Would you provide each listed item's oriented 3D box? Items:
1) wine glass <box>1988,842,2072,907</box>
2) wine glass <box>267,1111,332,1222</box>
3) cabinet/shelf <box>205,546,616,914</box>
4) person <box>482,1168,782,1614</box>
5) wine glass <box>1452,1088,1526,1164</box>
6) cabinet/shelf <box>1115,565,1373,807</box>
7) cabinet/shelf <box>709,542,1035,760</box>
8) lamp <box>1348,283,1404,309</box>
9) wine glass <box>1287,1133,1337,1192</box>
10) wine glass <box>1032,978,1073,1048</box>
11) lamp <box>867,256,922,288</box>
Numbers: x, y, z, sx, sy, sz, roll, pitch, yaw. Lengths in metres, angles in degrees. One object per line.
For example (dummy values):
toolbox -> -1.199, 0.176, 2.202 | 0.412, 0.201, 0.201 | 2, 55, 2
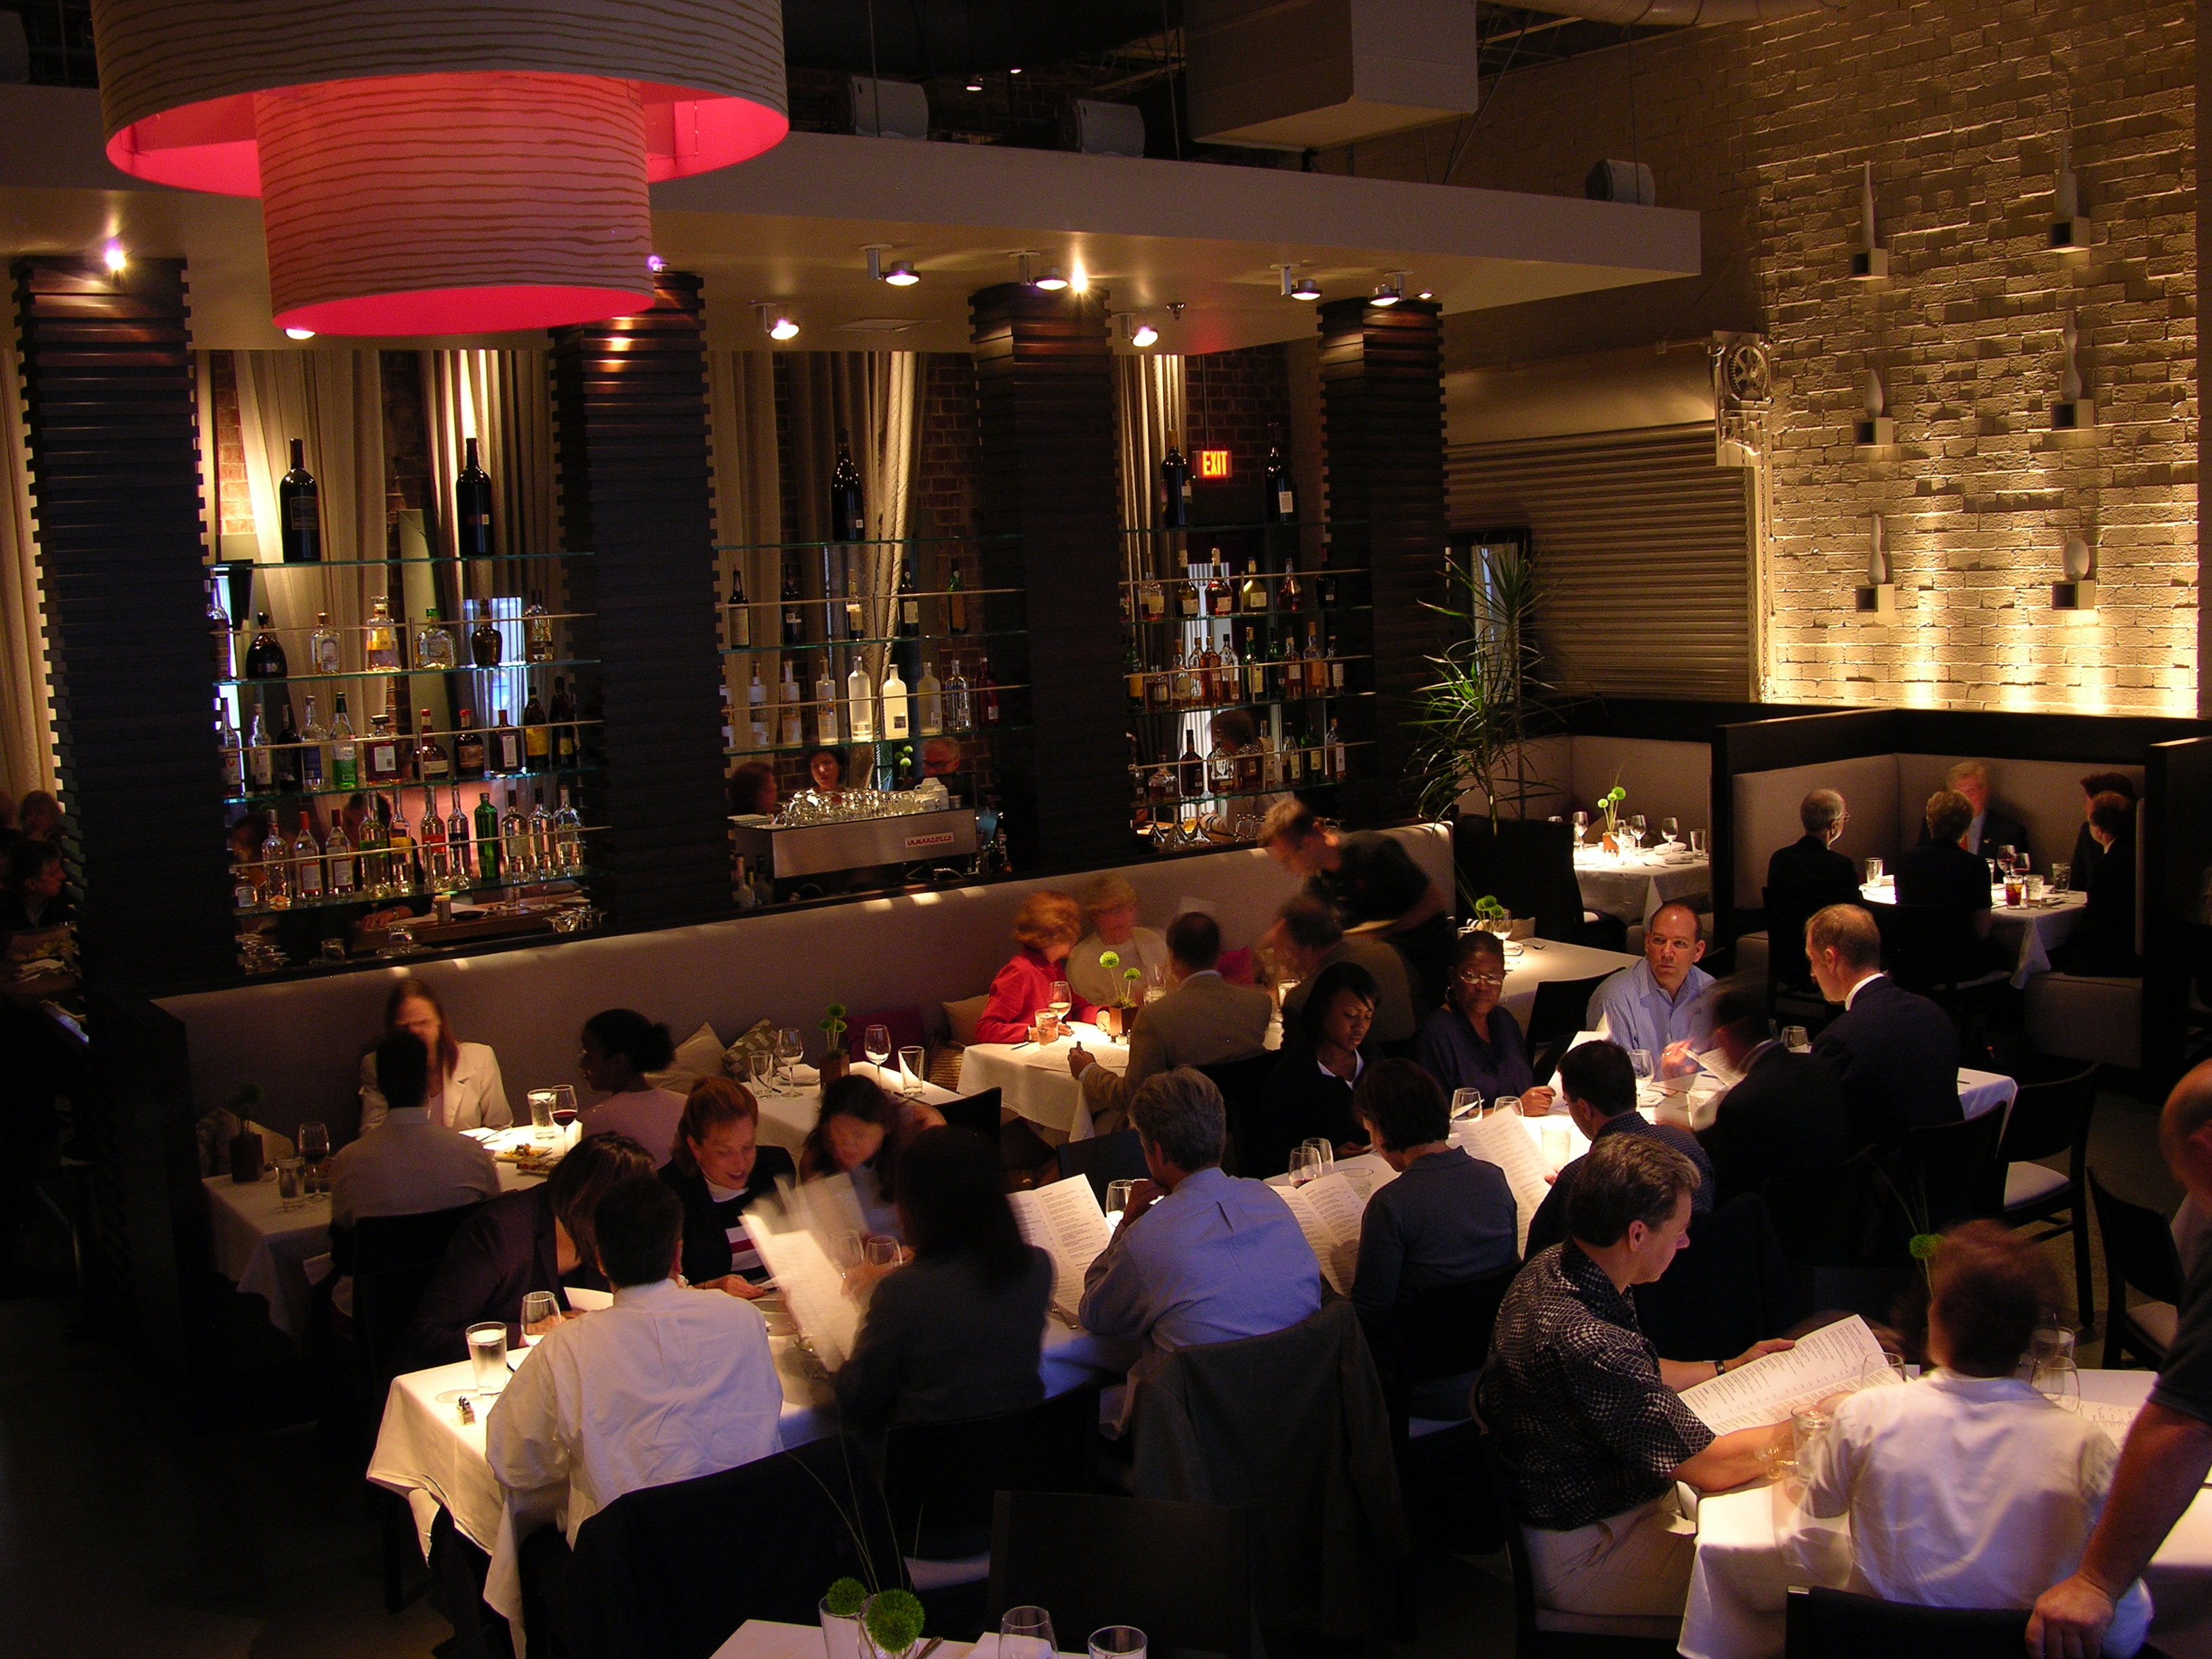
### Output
wine glass -> 4.897, 0.222, 9.485 | 0.359, 0.169, 0.513 | 2, 4, 26
wine glass -> -2.772, 1.168, 6.126 | 0.235, 0.360, 0.217 | 2, 3, 34
cabinet/shelf -> -3.115, -0.433, 7.801 | 1.565, 1.449, 0.503 | -7, 13, -39
person -> -1.122, 1.345, 4.175 | 0.681, 1.053, 0.557 | -2, 16, -21
wine glass -> 1.164, 0.921, 5.502 | 0.186, 0.163, 0.144 | -19, 14, -5
cabinet/shelf -> 0.670, -0.855, 10.362 | 1.488, 1.398, 0.473 | -7, 9, -27
cabinet/shelf -> -1.262, -0.918, 9.457 | 1.510, 1.039, 0.775 | -3, 3, -36
lamp -> 1.495, -2.883, 9.657 | 0.190, 0.092, 0.117 | -7, 8, -31
wine glass -> 0.628, 1.028, 5.460 | 0.125, 0.194, 0.125 | -1, 4, -7
wine glass -> -0.216, 0.775, 7.503 | 0.197, 0.315, 0.189 | -1, 6, -16
lamp -> -0.908, -2.398, 7.683 | 0.235, 0.112, 0.172 | 0, 5, -10
